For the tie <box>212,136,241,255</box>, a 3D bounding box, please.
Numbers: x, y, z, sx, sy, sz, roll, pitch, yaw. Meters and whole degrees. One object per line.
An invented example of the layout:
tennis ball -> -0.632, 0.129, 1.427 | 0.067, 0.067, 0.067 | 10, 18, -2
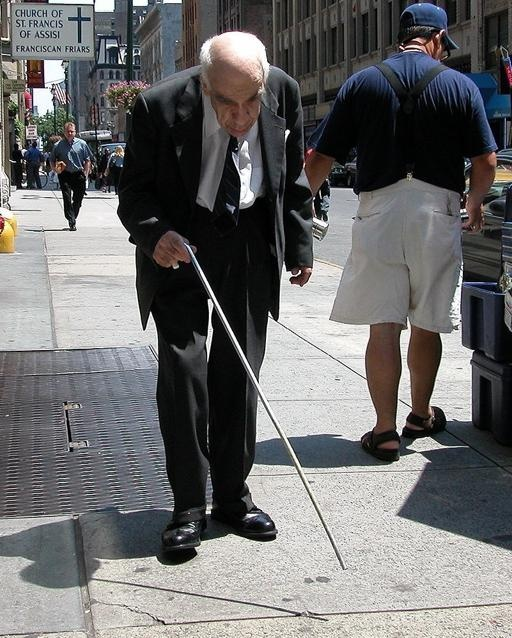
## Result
tie -> -0.086, -0.384, 1.935 | 0.080, 0.270, 0.059 | 3, 6, 7

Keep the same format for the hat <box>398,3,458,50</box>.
hat -> 0.816, -1.385, 3.197 | 0.350, 0.172, 0.209 | -5, 17, -33

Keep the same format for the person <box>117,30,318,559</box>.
person -> -0.157, -0.055, 2.082 | 0.521, 1.514, 0.616 | 5, 7, 22

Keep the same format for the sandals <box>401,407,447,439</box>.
sandals -> 0.845, 0.520, 3.341 | 0.219, 0.093, 0.118 | -13, 17, -42

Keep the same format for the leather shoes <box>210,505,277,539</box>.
leather shoes -> -0.038, 0.666, 2.184 | 0.209, 0.084, 0.081 | 1, 10, 39

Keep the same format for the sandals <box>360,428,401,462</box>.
sandals -> 0.576, 0.569, 3.005 | 0.087, 0.084, 0.206 | -2, 7, -11

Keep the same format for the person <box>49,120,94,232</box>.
person -> -4.119, -3.201, 14.873 | 0.712, 2.435, 1.148 | 3, 6, 11

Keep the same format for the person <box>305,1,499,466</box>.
person -> 0.670, -0.435, 3.065 | 0.855, 2.113, 0.494 | 3, 6, 4

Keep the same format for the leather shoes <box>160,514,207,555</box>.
leather shoes -> -0.220, 0.653, 1.985 | 0.115, 0.067, 0.168 | 1, 6, -5
